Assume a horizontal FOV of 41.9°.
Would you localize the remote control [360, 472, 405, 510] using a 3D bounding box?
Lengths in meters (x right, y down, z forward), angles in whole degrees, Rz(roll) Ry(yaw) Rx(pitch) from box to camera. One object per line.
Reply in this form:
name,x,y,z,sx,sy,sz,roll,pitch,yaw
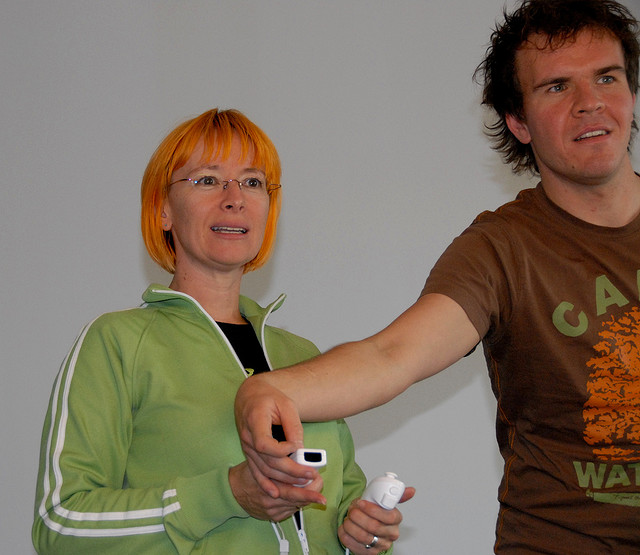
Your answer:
remote control,0.142,0.482,1.866,0.068,0.078,0.123,0,-22,-36
